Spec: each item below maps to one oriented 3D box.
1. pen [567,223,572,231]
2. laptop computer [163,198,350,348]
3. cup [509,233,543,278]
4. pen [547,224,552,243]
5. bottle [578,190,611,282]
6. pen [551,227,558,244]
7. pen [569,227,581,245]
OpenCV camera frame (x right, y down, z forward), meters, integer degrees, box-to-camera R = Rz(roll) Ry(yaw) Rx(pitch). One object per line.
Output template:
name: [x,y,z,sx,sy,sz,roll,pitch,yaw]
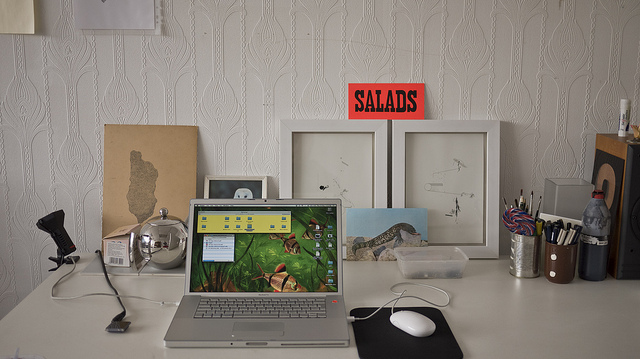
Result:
pen: [1.088,0.201,1.986,0.021,0.028,0.010,2,0,22]
laptop computer: [-0.219,0.325,1.729,0.690,0.380,0.589,0,11,-10]
cup: [0.921,0.334,2.095,0.180,0.190,0.168,3,1,0]
pen: [1.001,0.228,1.986,0.020,0.074,0.020,3,3,21]
bottle: [1.199,0.256,2.048,0.122,0.367,0.147,1,2,-2]
pen: [1.018,0.239,1.977,0.023,0.073,0.015,2,7,28]
pen: [1.100,0.238,1.958,0.036,0.075,0.009,-2,6,-10]
